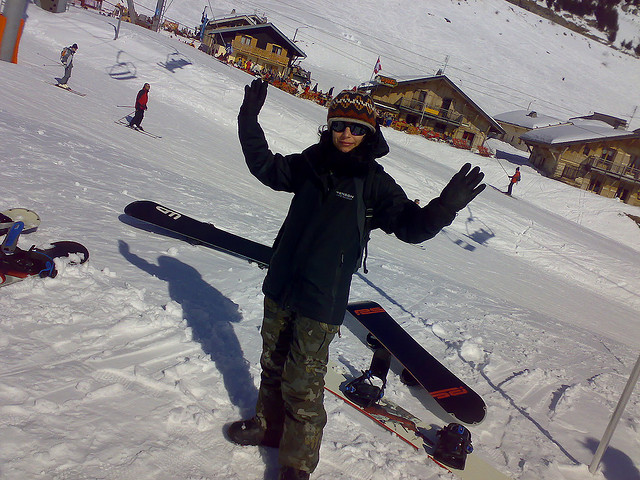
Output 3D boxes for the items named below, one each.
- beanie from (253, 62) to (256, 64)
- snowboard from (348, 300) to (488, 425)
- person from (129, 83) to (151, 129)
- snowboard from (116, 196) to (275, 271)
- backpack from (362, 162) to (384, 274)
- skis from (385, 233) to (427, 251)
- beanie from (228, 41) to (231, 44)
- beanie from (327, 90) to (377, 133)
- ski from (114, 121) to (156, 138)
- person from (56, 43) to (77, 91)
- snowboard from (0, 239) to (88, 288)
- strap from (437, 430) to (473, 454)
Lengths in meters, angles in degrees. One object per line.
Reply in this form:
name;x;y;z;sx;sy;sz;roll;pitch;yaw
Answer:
beanie;-4.745;-12.866;36.939;0.198;0.098;0.933;12;17;-12
snowboard;0.966;1.295;5.989;0.537;0.242;2.340;1;20;-26
person;-4.750;-3.567;13.609;0.369;1.154;1.565;14;18;-20
snowboard;-1.919;-0.088;7.600;2.383;0.217;0.538;22;37;10
backpack;0.420;-0.174;4.196;0.166;0.917;0.140;5;3;6
skis;1.405;0.052;8.845;0.889;0.071;0.084;25;16;-11
beanie;-6.672;-14.622;37.622;0.070;0.195;0.325;2;22;-43
beanie;0.263;-0.995;4.221;0.400;0.276;0.362;9;-11;4
ski;-4.815;-2.883;13.280;1.043;0.170;0.206;11;19;-13
person;-7.240;-5.026;14.645;0.403;1.193;1.890;11;18;-28
snowboard;-2.999;0.239;5.517;0.416;0.290;0.977;22;18;16
strap;1.330;1.983;5.056;0.353;0.105;0.119;22;18;20
